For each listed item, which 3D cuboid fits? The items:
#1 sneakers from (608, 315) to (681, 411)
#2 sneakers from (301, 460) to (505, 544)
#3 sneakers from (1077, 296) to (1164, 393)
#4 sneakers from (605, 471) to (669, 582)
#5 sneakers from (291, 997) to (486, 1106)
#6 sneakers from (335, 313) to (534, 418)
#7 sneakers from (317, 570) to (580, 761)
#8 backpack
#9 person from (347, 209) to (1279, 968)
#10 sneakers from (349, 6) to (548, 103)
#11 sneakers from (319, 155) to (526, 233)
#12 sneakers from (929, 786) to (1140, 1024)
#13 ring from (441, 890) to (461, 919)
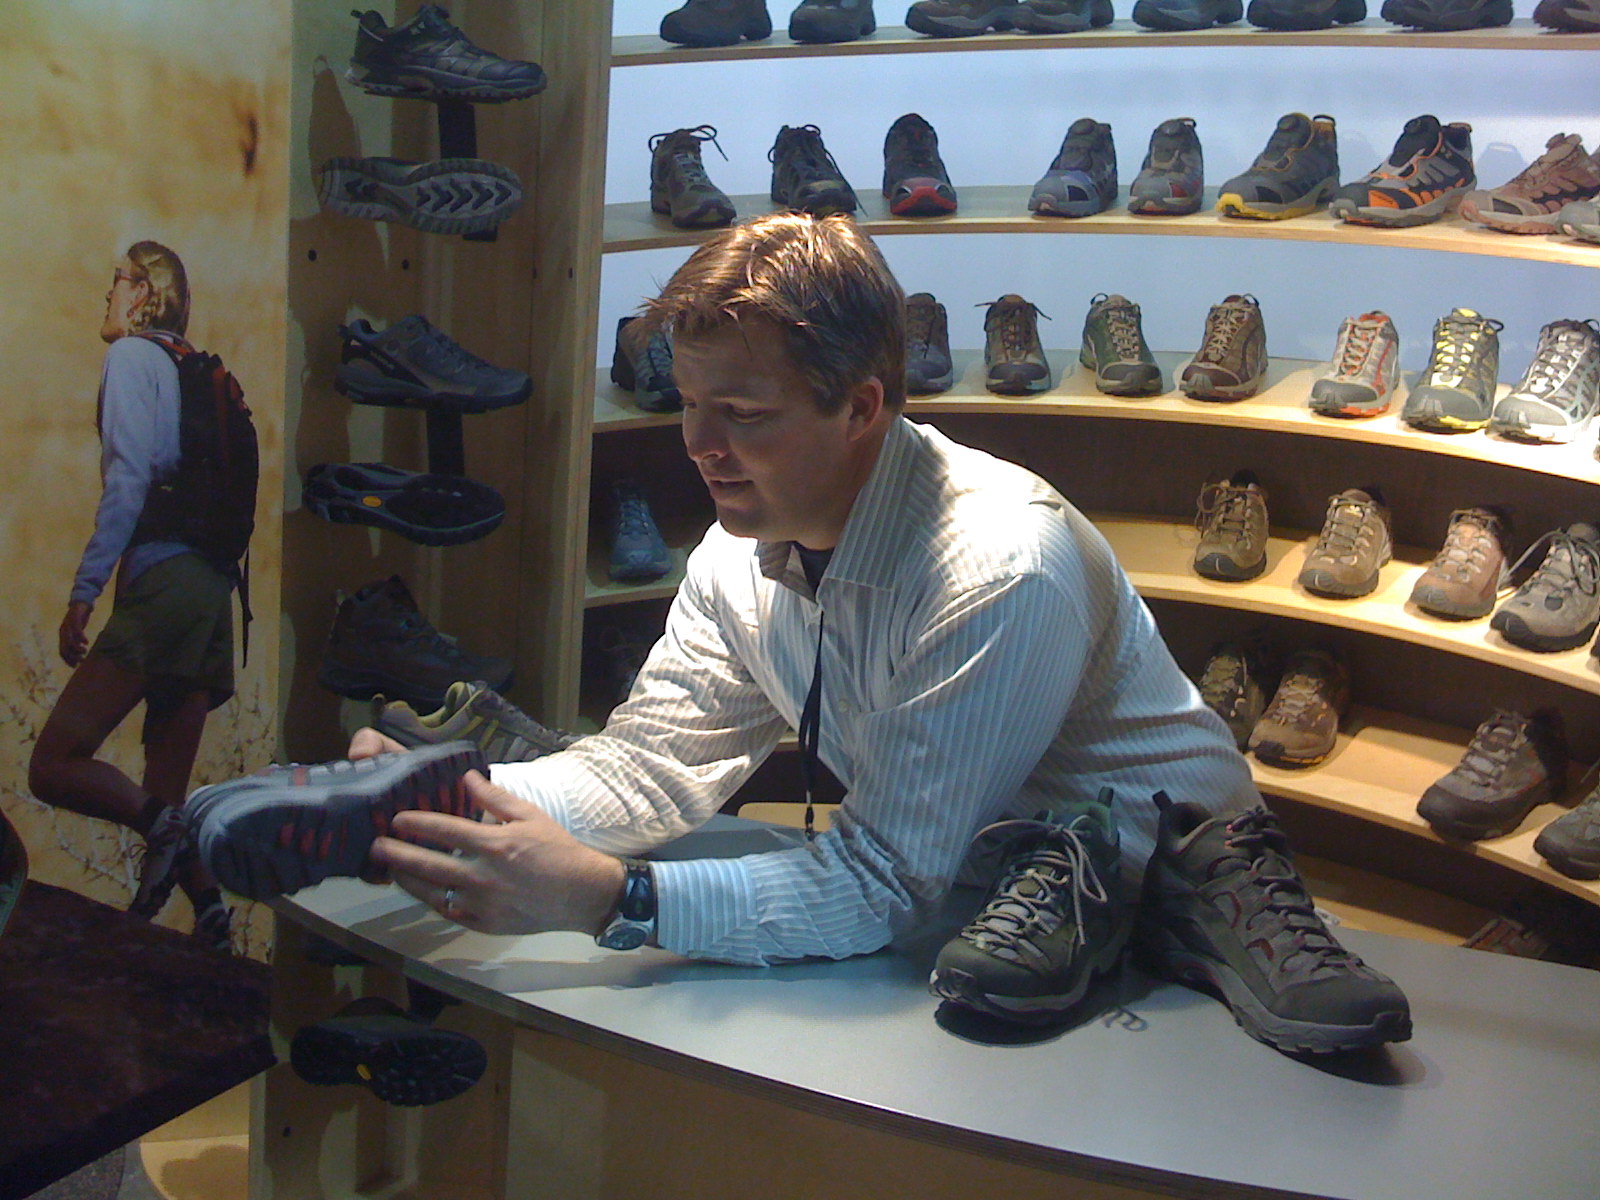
[{"bbox_3d":[-0.370,-0.497,2.696,0.140,0.169,0.381,-8,20,-23],"label":"sneakers"},{"bbox_3d":[-0.696,-0.183,2.262,0.312,0.103,0.164,10,40,0],"label":"sneakers"},{"bbox_3d":[0.732,-0.592,2.990,0.110,0.147,0.316,-4,28,-4],"label":"sneakers"},{"bbox_3d":[-0.357,-0.139,2.828,0.093,0.097,0.258,-3,25,-9],"label":"sneakers"},{"bbox_3d":[-0.559,0.607,1.805,0.329,0.145,0.124,-1,-3,17],"label":"sneakers"},{"bbox_3d":[-0.592,-0.400,2.236,0.394,0.189,0.148,6,12,-5],"label":"sneakers"},{"bbox_3d":[-0.654,0.118,2.358,0.413,0.221,0.154,24,17,-5],"label":"sneakers"},{"bbox_3d":[-1.043,-0.251,2.200,0.200,0.384,0.059,-7,20,-27],"label":"backpack"},{"bbox_3d":[0.030,-0.028,1.992,1.381,1.005,0.734,0,4,-21],"label":"person"},{"bbox_3d":[-0.550,-0.898,2.148,0.367,0.175,0.136,0,21,-10],"label":"sneakers"},{"bbox_3d":[-0.645,-0.686,2.255,0.353,0.137,0.154,7,17,-17],"label":"sneakers"},{"bbox_3d":[0.279,0.345,1.530,0.134,0.173,0.328,3,13,37],"label":"sneakers"},{"bbox_3d":[-0.402,0.350,1.479,0.019,0.022,0.025,0,1,1],"label":"ring"}]
